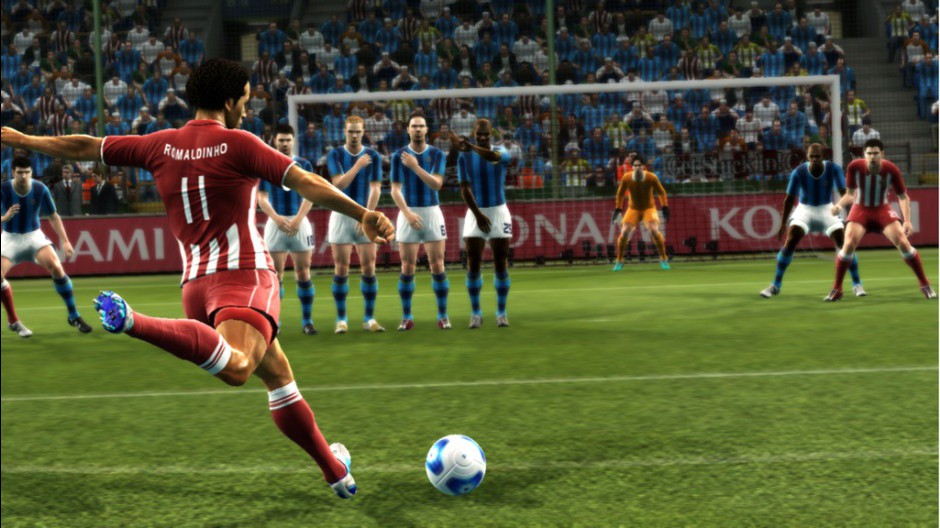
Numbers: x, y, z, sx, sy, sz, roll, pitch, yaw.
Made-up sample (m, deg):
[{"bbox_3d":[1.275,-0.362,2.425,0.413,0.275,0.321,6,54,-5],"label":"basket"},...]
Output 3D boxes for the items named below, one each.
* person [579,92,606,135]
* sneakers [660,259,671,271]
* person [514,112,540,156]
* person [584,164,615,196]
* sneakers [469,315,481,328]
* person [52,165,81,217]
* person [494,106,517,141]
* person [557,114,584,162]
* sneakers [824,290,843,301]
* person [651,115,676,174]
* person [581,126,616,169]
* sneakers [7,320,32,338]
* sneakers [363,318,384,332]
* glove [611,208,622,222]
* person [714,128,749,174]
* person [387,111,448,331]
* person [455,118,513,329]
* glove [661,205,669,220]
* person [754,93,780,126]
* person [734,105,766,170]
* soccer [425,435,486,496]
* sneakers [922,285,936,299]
[{"bbox_3d":[2.819,-3.472,25.014,0.747,0.965,0.322,-9,44,-5],"label":"person"},{"bbox_3d":[4.137,0.007,23.114,0.133,0.139,0.346,1,16,7],"label":"sneakers"},{"bbox_3d":[1.283,-2.974,24.574,0.564,0.770,0.139,-1,10,5],"label":"person"},{"bbox_3d":[2.905,-1.868,24.775,0.778,0.694,0.174,2,2,-4],"label":"person"},{"bbox_3d":[0.082,0.949,17.986,0.161,0.218,0.238,0,-12,0],"label":"sneakers"},{"bbox_3d":[-9.240,-1.515,25.081,0.701,1.421,0.546,-5,21,-20],"label":"person"},{"bbox_3d":[0.793,-3.185,24.770,0.554,0.675,0.242,1,6,21],"label":"person"},{"bbox_3d":[2.322,-2.761,24.697,0.363,0.908,0.297,-5,-1,-22],"label":"person"},{"bbox_3d":[6.282,0.551,18.882,0.138,0.168,0.380,-12,-9,34],"label":"sneakers"},{"bbox_3d":[4.300,-2.858,25.087,0.475,1.262,0.406,5,8,-8],"label":"person"},{"bbox_3d":[2.878,-2.627,24.821,1.059,1.065,0.637,-3,1,-11],"label":"person"},{"bbox_3d":[-7.541,1.058,18.217,0.504,0.197,0.202,12,15,28],"label":"sneakers"},{"bbox_3d":[-1.561,1.006,17.943,0.379,0.148,0.156,-2,0,39],"label":"sneakers"},{"bbox_3d":[3.074,-1.026,22.923,0.195,0.145,0.359,0,-24,-5],"label":"glove"},{"bbox_3d":[5.925,-2.511,24.764,0.619,1.027,0.397,1,10,16],"label":"person"},{"bbox_3d":[-0.824,-0.665,17.704,0.898,3.483,0.939,-3,10,-4],"label":"person"},{"bbox_3d":[0.244,-0.631,17.736,0.810,3.355,0.800,-1,10,10],"label":"person"},{"bbox_3d":[4.002,-1.018,22.335,0.266,0.249,0.294,-3,29,9],"label":"glove"},{"bbox_3d":[6.738,-3.468,24.747,0.750,0.908,0.353,-3,-9,6],"label":"person"},{"bbox_3d":[6.294,-2.750,24.731,0.643,1.467,0.555,0,-4,22],"label":"person"},{"bbox_3d":[-0.232,2.430,13.560,0.779,0.673,0.697,13,17,-11],"label":"soccer"},{"bbox_3d":[7.949,0.455,18.928,0.152,0.150,0.403,-5,16,13],"label":"sneakers"}]
